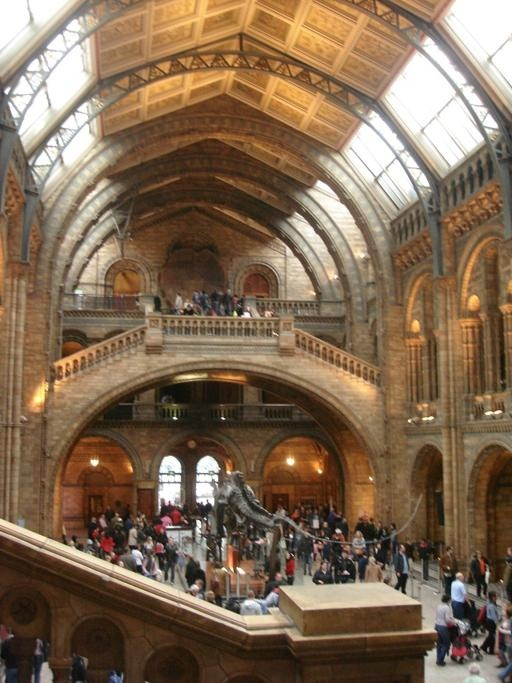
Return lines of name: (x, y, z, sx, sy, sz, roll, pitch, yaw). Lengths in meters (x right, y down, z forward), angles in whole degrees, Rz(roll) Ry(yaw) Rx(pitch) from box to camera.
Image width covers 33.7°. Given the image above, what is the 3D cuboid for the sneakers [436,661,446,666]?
sneakers: (2.792, 4.805, 12.699, 0.100, 0.071, 0.147, 3, -10, 10)
